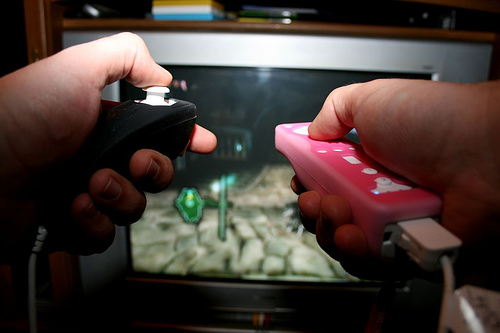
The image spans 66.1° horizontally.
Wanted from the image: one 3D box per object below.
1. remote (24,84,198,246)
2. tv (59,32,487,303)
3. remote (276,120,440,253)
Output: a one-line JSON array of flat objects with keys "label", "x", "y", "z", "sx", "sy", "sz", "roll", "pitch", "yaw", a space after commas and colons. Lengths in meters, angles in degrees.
[{"label": "remote", "x": -0.279, "y": -0.024, "z": 0.749, "sx": 0.349, "sy": 0.148, "sz": 0.259, "roll": -33, "pitch": 15, "yaw": 1}, {"label": "tv", "x": 0.063, "y": 0.017, "z": 1.287, "sx": 1.181, "sy": 0.815, "sz": 0.656, "roll": 0, "pitch": 6, "yaw": -3}, {"label": "remote", "x": 0.186, "y": -0.001, "z": 0.717, "sx": 0.160, "sy": 0.065, "sz": 0.281, "roll": -10, "pitch": 38, "yaw": -30}]
